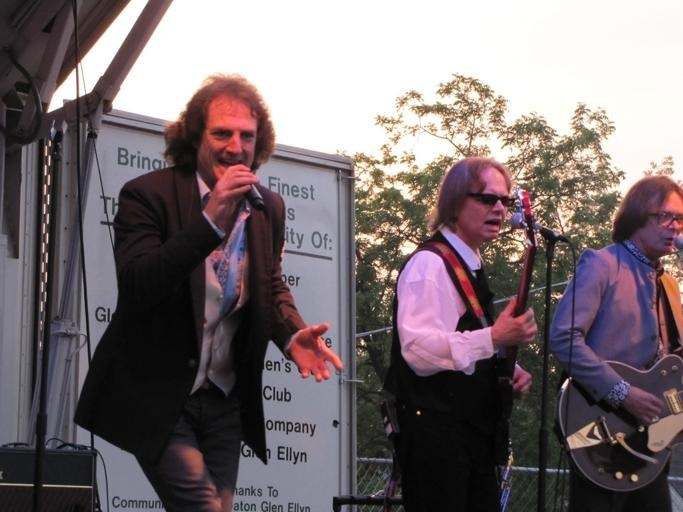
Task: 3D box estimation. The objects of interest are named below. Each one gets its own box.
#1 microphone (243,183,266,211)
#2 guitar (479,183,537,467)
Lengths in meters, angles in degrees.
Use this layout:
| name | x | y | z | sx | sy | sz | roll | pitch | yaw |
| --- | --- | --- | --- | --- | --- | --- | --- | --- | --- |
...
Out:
| name | x | y | z | sx | sy | sz | roll | pitch | yaw |
| --- | --- | --- | --- | --- | --- | --- | --- | --- | --- |
| microphone | -0.531 | -0.355 | 7.109 | 0.034 | 0.160 | 0.150 | -9 | -11 | -15 |
| guitar | 1.092 | 0.435 | 7.672 | 0.293 | 1.769 | 0.369 | 0 | 1 | 10 |
